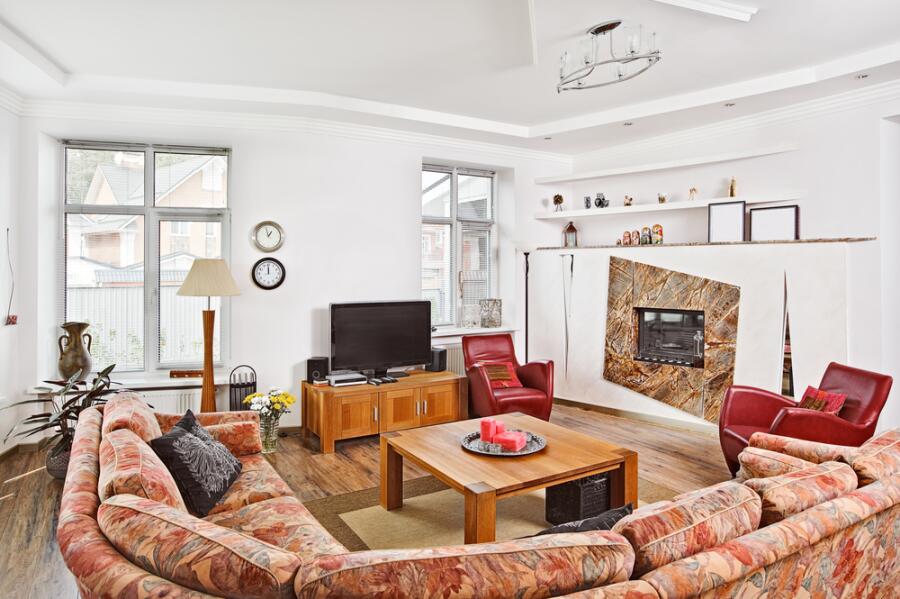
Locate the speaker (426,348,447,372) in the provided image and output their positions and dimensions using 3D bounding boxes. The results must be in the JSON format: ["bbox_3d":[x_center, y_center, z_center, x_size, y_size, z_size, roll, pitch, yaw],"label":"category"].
[{"bbox_3d":[-0.132,0.699,6.730,0.247,0.310,0.250,-1,-1,29],"label":"speaker"}]

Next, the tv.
[{"bbox_3d":[-0.789,0.422,6.507,1.219,0.817,0.244,-1,4,-29],"label":"tv"}]

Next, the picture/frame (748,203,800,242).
[{"bbox_3d":[3.496,-0.819,6.191,0.046,0.382,0.459,-2,5,-41],"label":"picture/frame"}]

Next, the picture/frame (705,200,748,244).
[{"bbox_3d":[3.128,-0.872,6.478,0.049,0.668,0.530,2,0,-42],"label":"picture/frame"}]

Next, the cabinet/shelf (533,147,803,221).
[{"bbox_3d":[2.497,-1.394,7.157,2.914,0.594,0.443,-1,0,34],"label":"cabinet/shelf"}]

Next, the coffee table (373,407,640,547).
[{"bbox_3d":[0.292,1.190,4.523,1.190,0.517,1.219,-4,10,-28],"label":"coffee table"}]

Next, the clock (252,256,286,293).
[{"bbox_3d":[-1.959,-0.276,6.180,0.371,0.362,0.050,6,-2,-22],"label":"clock"}]

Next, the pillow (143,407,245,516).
[{"bbox_3d":[-1.588,1.043,3.719,0.158,0.514,0.539,-31,14,14],"label":"pillow"}]

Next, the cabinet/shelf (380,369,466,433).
[{"bbox_3d":[-0.450,1.144,6.503,1.102,0.481,0.548,-1,1,-33],"label":"cabinet/shelf"}]

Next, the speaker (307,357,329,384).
[{"bbox_3d":[-1.399,0.765,6.157,0.245,0.243,0.249,0,-2,-10],"label":"speaker"}]

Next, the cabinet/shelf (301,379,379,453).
[{"bbox_3d":[-1.117,1.183,6.197,0.793,0.552,0.582,1,6,-34],"label":"cabinet/shelf"}]

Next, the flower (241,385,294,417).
[{"bbox_3d":[-1.887,1.020,5.845,0.375,0.184,0.383,2,1,44],"label":"flower"}]

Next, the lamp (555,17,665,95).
[{"bbox_3d":[1.419,-2.143,5.132,0.612,0.363,0.808,4,18,19],"label":"lamp"}]
